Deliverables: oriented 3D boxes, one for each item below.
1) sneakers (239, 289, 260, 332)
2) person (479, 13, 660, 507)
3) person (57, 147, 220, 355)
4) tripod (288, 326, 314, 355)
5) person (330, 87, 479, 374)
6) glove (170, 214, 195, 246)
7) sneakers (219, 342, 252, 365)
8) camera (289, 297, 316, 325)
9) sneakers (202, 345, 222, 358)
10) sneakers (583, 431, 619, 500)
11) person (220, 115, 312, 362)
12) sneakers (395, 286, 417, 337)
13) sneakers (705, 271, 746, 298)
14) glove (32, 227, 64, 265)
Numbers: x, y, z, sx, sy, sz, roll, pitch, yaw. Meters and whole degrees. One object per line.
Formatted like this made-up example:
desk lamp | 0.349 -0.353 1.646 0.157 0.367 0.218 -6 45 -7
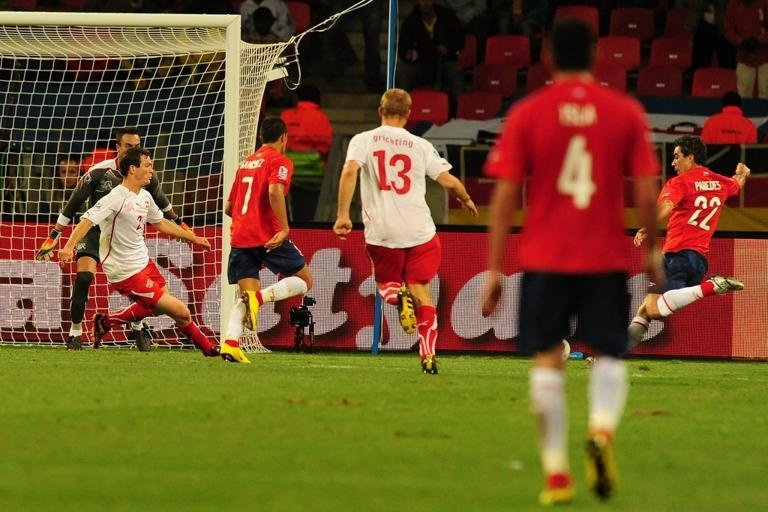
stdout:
sneakers | -1.278 0.492 9.559 0.180 0.374 0.141 -8 -31 -10
person | 1.234 0.032 6.494 1.176 3.096 1.009 4 14 14
person | -2.464 -0.142 9.995 1.468 1.892 0.808 3 14 9
tripod | -0.947 0.962 11.392 0.266 0.355 0.276 -2 7 -22
person | 0.148 -0.125 9.313 1.121 2.151 0.785 8 16 25
glove | -2.319 -0.295 11.122 0.403 0.157 0.123 39 23 -18
sneakers | -1.490 0.962 9.591 0.316 0.166 0.123 27 -48 -19
camera | -0.910 0.624 11.178 0.329 0.343 0.246 0 -3 1
sneakers | -1.741 0.958 9.794 0.150 0.132 0.115 -31 17 -4
sneakers | 1.433 1.348 6.394 0.234 0.402 0.154 -3 3 4
person | -1.264 -0.177 9.737 0.998 2.305 0.747 -11 18 -39
sneakers | 0.210 0.508 9.149 0.154 0.455 0.187 -9 -10 -20
sneakers | 3.635 0.291 10.363 0.315 0.147 0.236 3 3 -1
glove | -3.865 -0.113 11.146 0.226 0.385 0.125 42 -1 35
